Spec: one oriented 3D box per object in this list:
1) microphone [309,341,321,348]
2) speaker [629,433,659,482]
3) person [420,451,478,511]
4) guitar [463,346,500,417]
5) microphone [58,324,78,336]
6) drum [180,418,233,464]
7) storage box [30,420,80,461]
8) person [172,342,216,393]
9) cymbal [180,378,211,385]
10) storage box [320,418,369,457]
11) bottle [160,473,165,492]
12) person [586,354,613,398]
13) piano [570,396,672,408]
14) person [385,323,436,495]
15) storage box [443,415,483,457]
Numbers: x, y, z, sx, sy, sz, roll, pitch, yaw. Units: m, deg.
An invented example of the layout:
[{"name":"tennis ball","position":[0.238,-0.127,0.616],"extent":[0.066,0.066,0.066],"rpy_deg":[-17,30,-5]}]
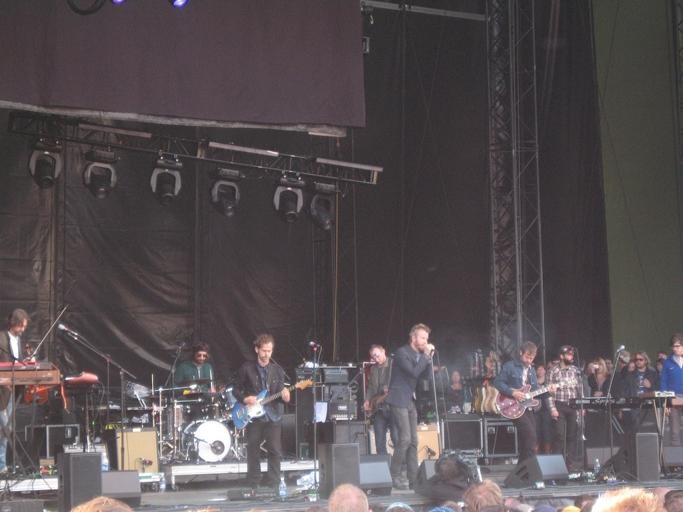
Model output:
[{"name":"microphone","position":[-0.457,1.453,19.514],"extent":[0.104,0.138,0.272],"rpy_deg":[5,-2,26]},{"name":"speaker","position":[4.655,3.076,18.218],"extent":[0.389,0.730,0.133],"rpy_deg":[-1,-9,-11]},{"name":"person","position":[1.445,3.174,16.877],"extent":[0.677,0.738,0.450],"rpy_deg":[-6,-10,13]},{"name":"guitar","position":[2.480,2.222,21.096],"extent":[0.540,1.177,0.266],"rpy_deg":[-3,0,0]},{"name":"microphone","position":[-4.756,1.281,20.639],"extent":[0.105,0.097,0.454],"rpy_deg":[-16,29,-30]},{"name":"drum","position":[-2.180,2.938,19.181],"extent":[0.659,0.694,0.669],"rpy_deg":[-8,-3,-17]},{"name":"storage box","position":[-4.864,3.092,20.208],"extent":[1.234,0.698,0.878],"rpy_deg":[2,-7,-19]},{"name":"person","position":[-2.458,2.089,20.278],"extent":[0.672,1.076,0.574],"rpy_deg":[13,-17,-34]},{"name":"cymbal","position":[-2.425,2.082,19.746],"extent":[0.502,0.086,0.190],"rpy_deg":[-4,-11,2]},{"name":"storage box","position":[0.053,2.972,19.484],"extent":[0.703,0.544,0.742],"rpy_deg":[-2,-40,-2]},{"name":"bottle","position":[-2.814,3.539,18.695],"extent":[0.086,0.291,0.256],"rpy_deg":[-3,-10,-2]},{"name":"person","position":[4.638,2.177,21.587],"extent":[0.504,0.727,0.169],"rpy_deg":[-1,-11,21]},{"name":"piano","position":[4.334,2.279,18.566],"extent":[1.529,0.182,0.250],"rpy_deg":[-1,-11,-13]},{"name":"person","position":[1.062,2.303,18.230],"extent":[0.734,2.474,0.454],"rpy_deg":[-5,-9,10]},{"name":"storage box","position":[2.032,3.028,20.283],"extent":[0.848,0.769,0.518],"rpy_deg":[0,-14,4]}]
